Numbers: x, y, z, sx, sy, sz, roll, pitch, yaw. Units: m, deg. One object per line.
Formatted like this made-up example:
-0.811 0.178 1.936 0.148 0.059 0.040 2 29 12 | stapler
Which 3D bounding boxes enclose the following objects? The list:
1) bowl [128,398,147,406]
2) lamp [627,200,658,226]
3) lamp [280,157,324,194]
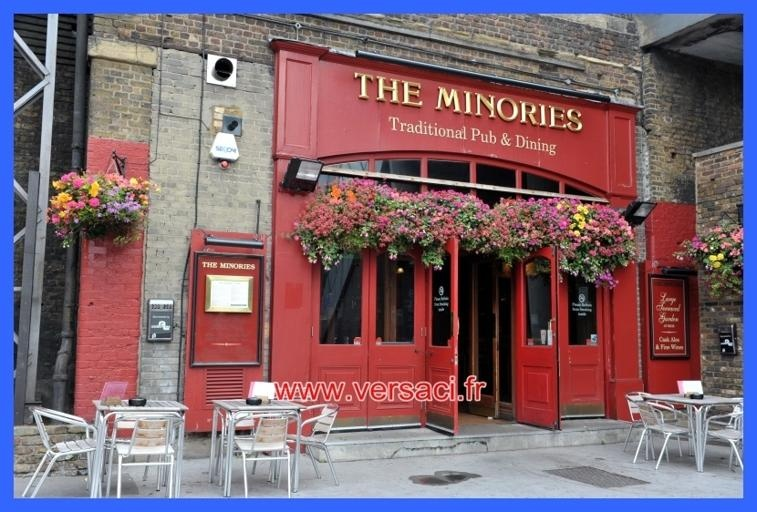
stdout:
-3.634 2.213 12.588 0.253 0.121 0.528 3 -10 -18 | bowl
5.371 -0.873 16.979 0.503 0.331 0.616 2 -42 -25 | lamp
-1.385 -1.470 14.759 0.677 0.585 0.349 -14 33 -23 | lamp
